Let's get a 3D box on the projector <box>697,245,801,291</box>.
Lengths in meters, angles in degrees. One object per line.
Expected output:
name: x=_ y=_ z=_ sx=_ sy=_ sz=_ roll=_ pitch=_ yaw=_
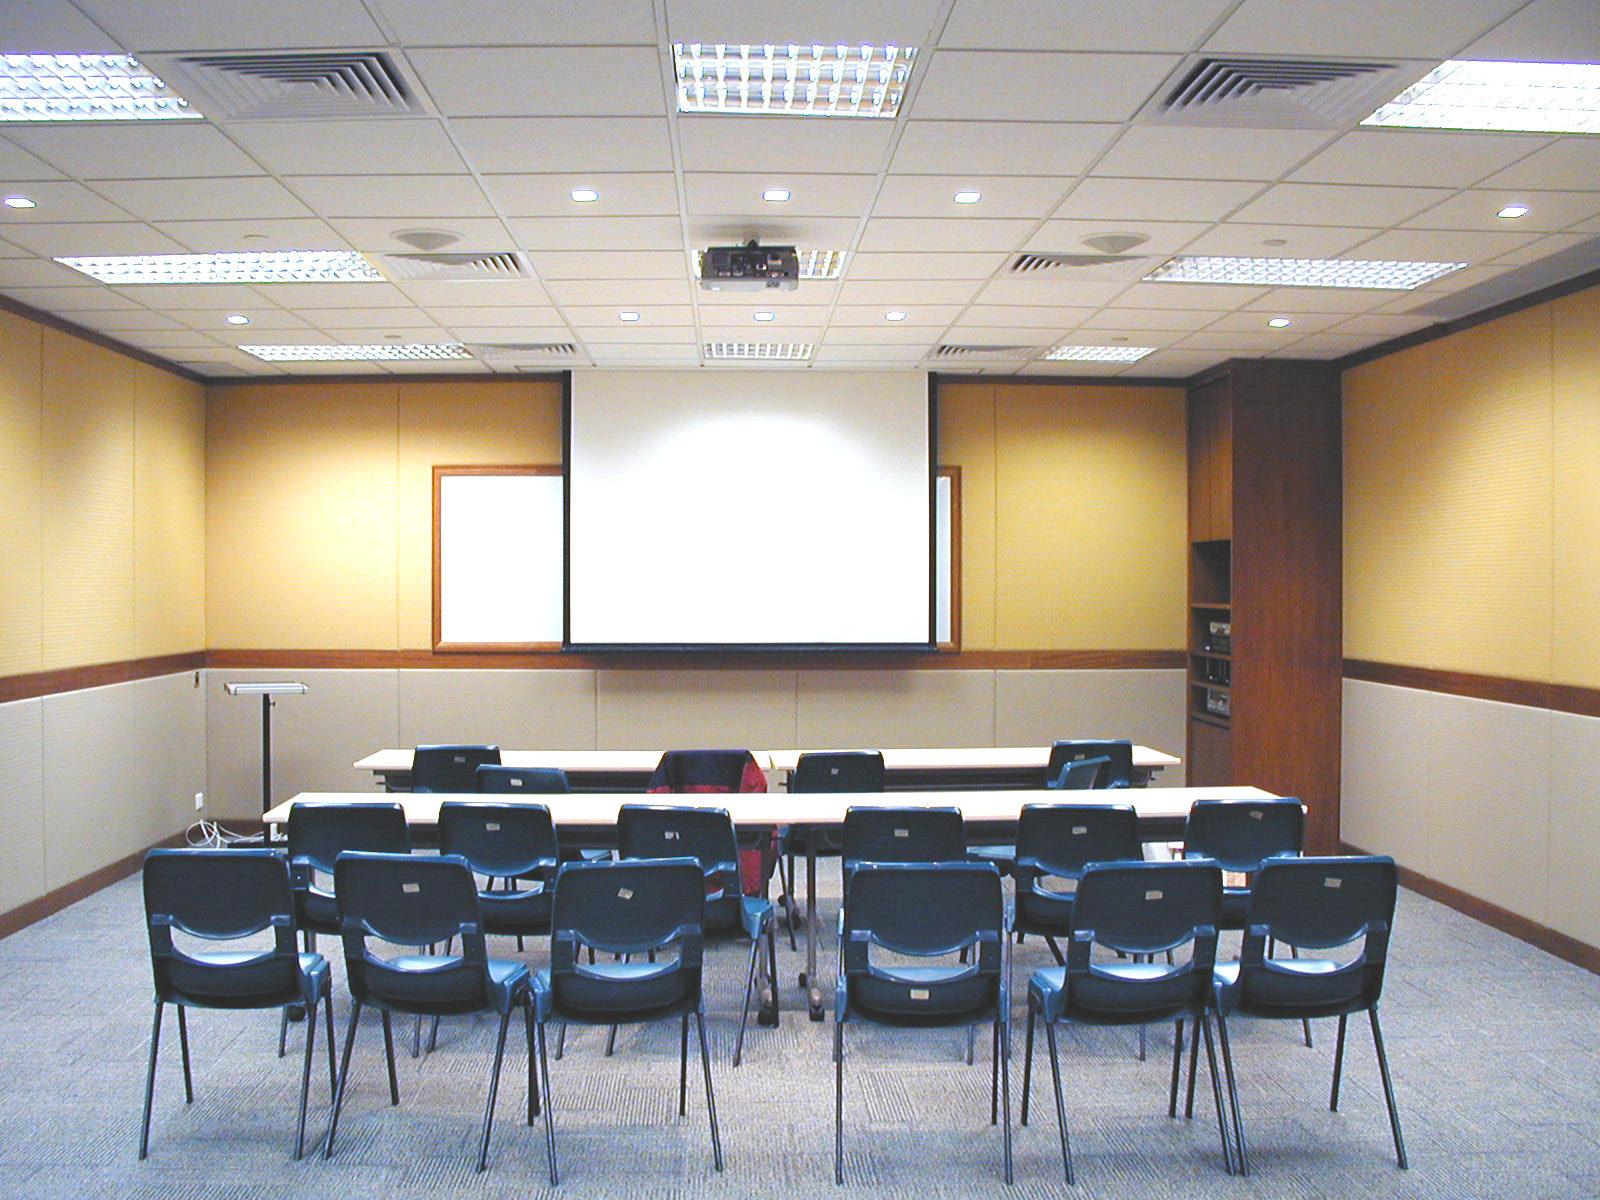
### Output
projector: x=-0.290 y=-1.891 z=6.694 sx=0.540 sy=0.257 sz=0.213 roll=-1 pitch=10 yaw=-7
